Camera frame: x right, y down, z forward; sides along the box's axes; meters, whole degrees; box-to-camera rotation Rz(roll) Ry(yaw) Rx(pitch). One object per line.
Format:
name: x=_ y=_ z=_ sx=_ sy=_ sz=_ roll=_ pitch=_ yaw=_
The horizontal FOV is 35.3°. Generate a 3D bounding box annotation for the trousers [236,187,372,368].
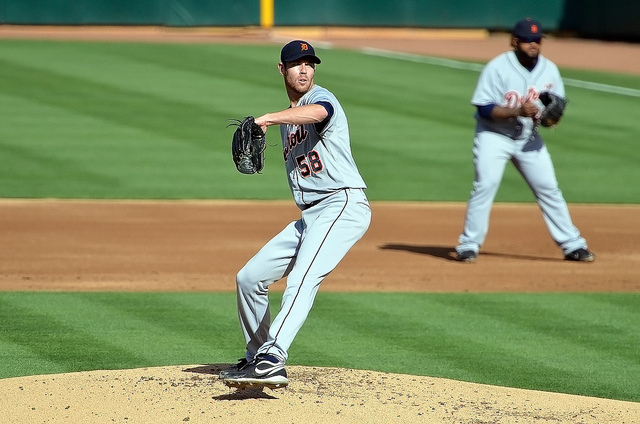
trousers: x=-0.253 y=0.572 z=9.368 sx=0.732 sy=1.663 sz=1.132 roll=16 pitch=15 yaw=40

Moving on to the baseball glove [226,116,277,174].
baseball glove: x=-0.725 y=-0.667 z=9.206 sx=0.400 sy=0.580 sz=0.181 roll=-26 pitch=54 yaw=-1

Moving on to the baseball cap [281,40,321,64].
baseball cap: x=-0.178 y=-1.506 z=9.433 sx=0.359 sy=0.205 sz=0.216 roll=4 pitch=10 yaw=-4

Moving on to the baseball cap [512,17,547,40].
baseball cap: x=2.389 y=-2.112 z=11.538 sx=0.280 sy=0.181 sz=0.348 roll=-8 pitch=12 yaw=-32

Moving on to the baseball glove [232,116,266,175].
baseball glove: x=-0.635 y=-0.594 z=9.126 sx=0.430 sy=0.458 sz=0.182 roll=-2 pitch=11 yaw=-9

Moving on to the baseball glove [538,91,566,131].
baseball glove: x=2.651 y=-1.170 z=11.560 sx=0.338 sy=0.368 sz=0.402 roll=7 pitch=15 yaw=5

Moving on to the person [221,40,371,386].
person: x=-0.138 y=-0.014 z=9.218 sx=1.105 sy=3.077 sz=1.151 roll=8 pitch=12 yaw=9
